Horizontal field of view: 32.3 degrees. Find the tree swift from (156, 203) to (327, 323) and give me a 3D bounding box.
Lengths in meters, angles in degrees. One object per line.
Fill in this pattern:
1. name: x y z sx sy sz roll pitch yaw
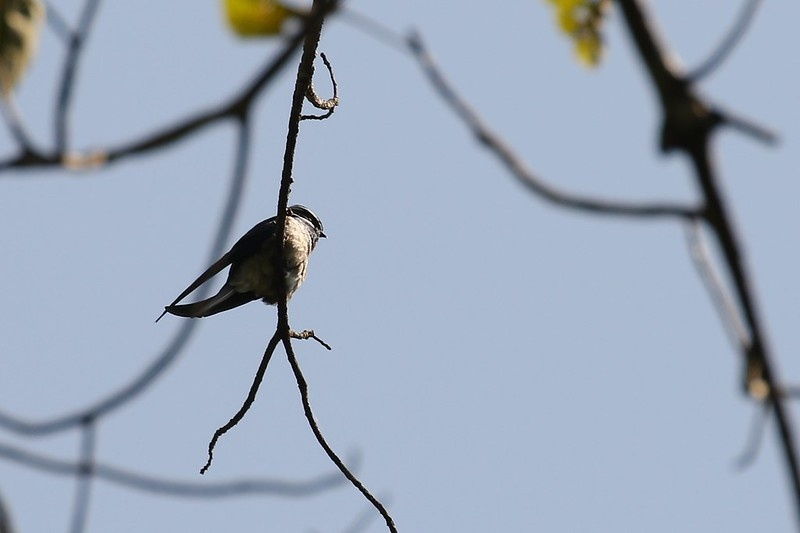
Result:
1. tree swift: -0.324 -0.012 3.096 0.386 0.264 0.158 -15 -55 -15
